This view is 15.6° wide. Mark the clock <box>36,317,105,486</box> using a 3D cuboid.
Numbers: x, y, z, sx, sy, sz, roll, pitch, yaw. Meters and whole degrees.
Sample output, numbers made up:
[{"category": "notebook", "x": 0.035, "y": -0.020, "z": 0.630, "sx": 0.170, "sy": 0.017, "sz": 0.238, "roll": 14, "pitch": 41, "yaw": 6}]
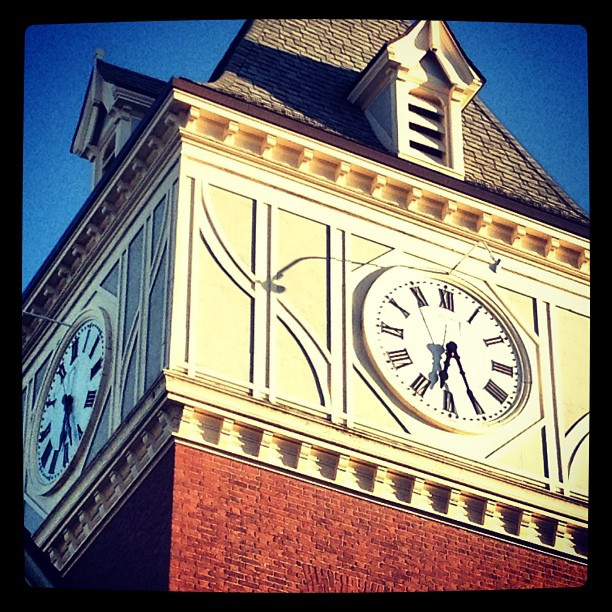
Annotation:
[{"category": "clock", "x": -3.422, "y": 1.515, "z": 33.173, "sx": 0.201, "sy": 1.838, "sz": 1.724, "roll": 10, "pitch": -31, "yaw": -21}]
